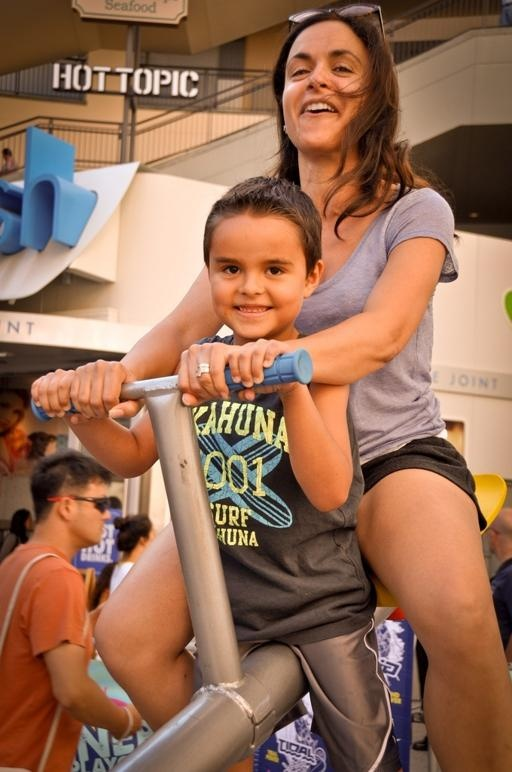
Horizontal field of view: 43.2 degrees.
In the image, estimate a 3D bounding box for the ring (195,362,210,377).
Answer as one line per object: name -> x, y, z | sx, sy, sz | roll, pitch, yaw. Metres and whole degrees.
ring -> -0.062, -0.020, 0.760 | 0.017, 0.018, 0.012 | 0, -14, -22
